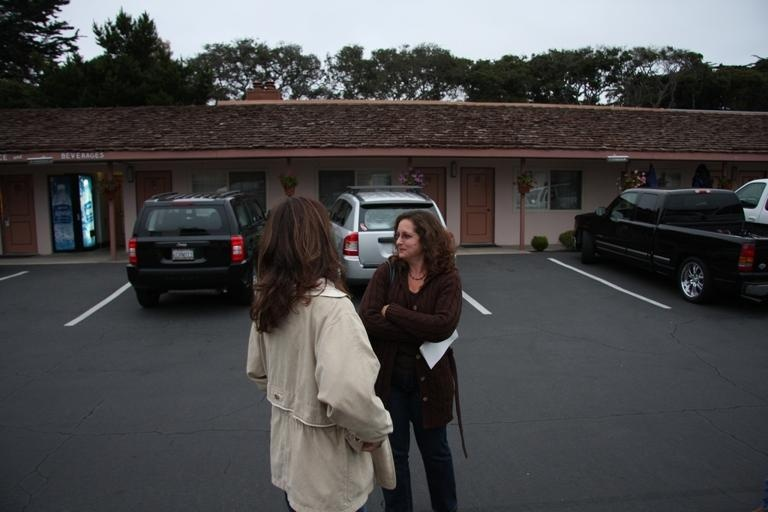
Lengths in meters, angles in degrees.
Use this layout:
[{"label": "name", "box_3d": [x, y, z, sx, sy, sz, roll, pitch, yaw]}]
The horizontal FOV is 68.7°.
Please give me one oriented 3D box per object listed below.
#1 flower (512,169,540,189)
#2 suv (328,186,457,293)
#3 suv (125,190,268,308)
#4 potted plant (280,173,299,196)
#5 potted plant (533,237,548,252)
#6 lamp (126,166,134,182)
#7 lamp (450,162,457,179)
[{"label": "flower", "box_3d": [4.133, -2.183, 16.123, 0.710, 0.585, 0.758, 2, 5, -1]}, {"label": "suv", "box_3d": [-0.260, -0.420, 10.816, 1.380, 1.421, 2.793, -1, 8, -5]}, {"label": "suv", "box_3d": [-3.337, -0.261, 11.223, 1.848, 1.671, 3.557, 0, 6, -1]}, {"label": "potted plant", "box_3d": [-2.780, -2.094, 16.424, 0.509, 0.597, 0.914, -2, 10, -10]}, {"label": "potted plant", "box_3d": [4.307, -0.319, 15.668, 0.384, 0.474, 0.439, 0, 2, 5]}, {"label": "lamp", "box_3d": [-7.547, -2.463, 16.669, 0.230, 0.489, 0.120, -6, 11, -31]}, {"label": "lamp", "box_3d": [2.107, -2.619, 16.963, 0.243, 0.498, 0.169, -2, 9, -8]}]
